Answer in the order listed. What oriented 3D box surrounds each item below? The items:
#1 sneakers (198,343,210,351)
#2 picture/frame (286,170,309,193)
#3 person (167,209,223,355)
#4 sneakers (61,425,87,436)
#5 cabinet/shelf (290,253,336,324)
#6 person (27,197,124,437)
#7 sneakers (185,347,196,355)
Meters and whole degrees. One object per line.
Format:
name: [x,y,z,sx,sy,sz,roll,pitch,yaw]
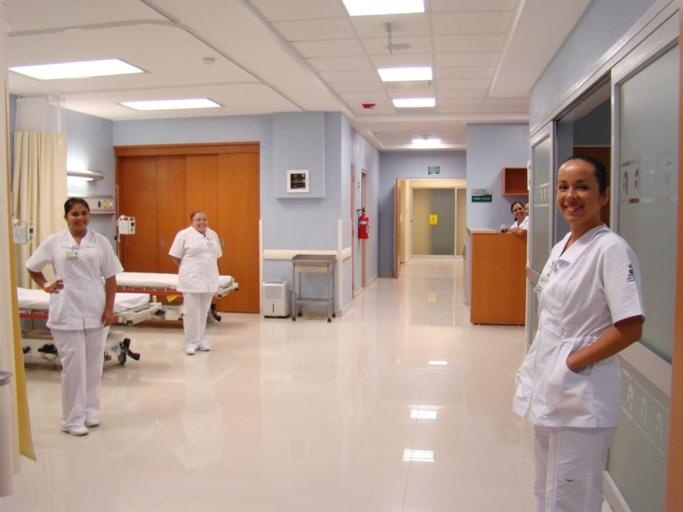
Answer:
sneakers: [-1.752,1.181,6.557,0.132,0.057,0.071,-2,-1,31]
picture/frame: [-0.693,-1.205,8.255,0.336,0.364,0.025,1,2,-1]
person: [-1.844,0.391,6.617,0.435,1.625,0.575,5,8,44]
sneakers: [-2.187,1.422,4.198,0.170,0.066,0.087,0,1,10]
cabinet/shelf: [-0.576,0.495,8.503,0.909,1.371,0.945,1,0,5]
person: [-2.183,0.485,4.331,0.684,1.929,0.498,-4,7,-33]
sneakers: [-1.884,1.181,6.412,0.121,0.095,0.132,-2,6,-16]
